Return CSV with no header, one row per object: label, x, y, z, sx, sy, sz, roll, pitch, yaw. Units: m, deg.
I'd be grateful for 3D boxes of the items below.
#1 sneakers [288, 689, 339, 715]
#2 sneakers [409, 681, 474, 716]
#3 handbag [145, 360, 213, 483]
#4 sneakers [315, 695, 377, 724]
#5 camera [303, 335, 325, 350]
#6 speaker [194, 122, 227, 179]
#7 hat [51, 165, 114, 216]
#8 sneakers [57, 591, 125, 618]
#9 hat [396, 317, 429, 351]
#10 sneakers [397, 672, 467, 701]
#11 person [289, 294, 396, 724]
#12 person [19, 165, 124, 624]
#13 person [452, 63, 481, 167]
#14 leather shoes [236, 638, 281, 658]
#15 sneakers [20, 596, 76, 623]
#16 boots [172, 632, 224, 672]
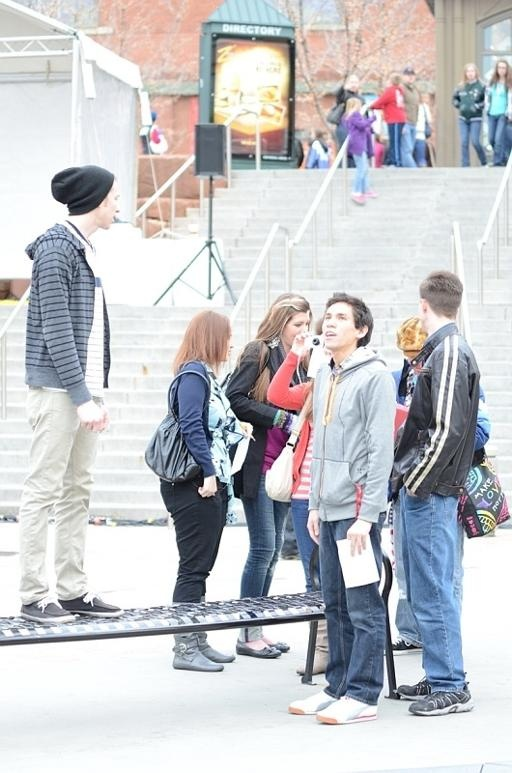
sneakers,0.222,1.239,5.249,0.207,0.083,0.076,-2,-7,-18
sneakers,0.721,1.227,5.245,0.248,0.110,0.094,0,-4,-16
handbag,-0.344,0.163,5.844,0.346,0.524,0.237,3,5,41
sneakers,0.352,1.242,5.125,0.236,0.091,0.089,2,-5,-15
camera,0.260,-0.190,5.893,0.067,0.065,0.026,1,17,-9
speaker,-0.468,-2.400,13.675,0.290,0.564,0.337,-1,4,-6
hat,-0.678,-0.764,5.169,0.231,0.171,0.173,-14,31,-16
sneakers,-0.636,0.852,5.185,0.251,0.096,0.093,2,1,-4
hat,0.713,-0.246,6.052,0.124,0.147,0.049,-5,-20,40
sneakers,0.717,1.233,5.495,0.306,0.135,0.105,2,-5,-10
person,0.342,0.467,5.207,0.427,1.641,0.451,0,4,11
person,-0.720,0.017,5.161,0.399,1.746,0.498,-1,4,-7
person,2.866,-3.628,17.900,0.384,1.422,1.303,0,4,10
leather shoes,0.014,1.222,6.234,0.199,0.080,0.073,-2,-3,22
sneakers,-0.782,0.832,4.995,0.157,0.061,0.091,1,1,12
boots,-0.223,1.195,5.957,0.300,0.207,0.118,0,-9,12
